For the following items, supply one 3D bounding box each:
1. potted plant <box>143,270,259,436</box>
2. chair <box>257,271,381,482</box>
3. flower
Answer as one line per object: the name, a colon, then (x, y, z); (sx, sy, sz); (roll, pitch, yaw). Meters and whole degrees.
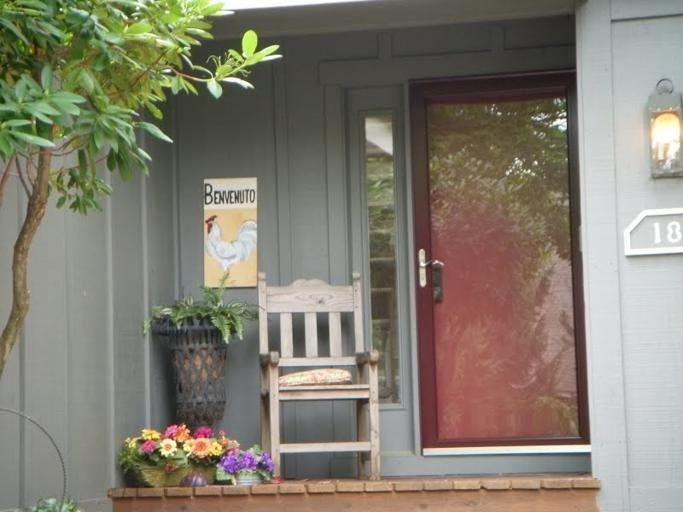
potted plant: (-0.932, 0.589, 6.364); (0.600, 1.021, 0.544); (0, 0, -5)
chair: (-0.148, 0.722, 6.361); (0.699, 1.301, 0.791); (0, -8, -6)
flower: (-0.911, 1.112, 6.196); (0.693, 0.292, 0.709); (1, -4, 4)
